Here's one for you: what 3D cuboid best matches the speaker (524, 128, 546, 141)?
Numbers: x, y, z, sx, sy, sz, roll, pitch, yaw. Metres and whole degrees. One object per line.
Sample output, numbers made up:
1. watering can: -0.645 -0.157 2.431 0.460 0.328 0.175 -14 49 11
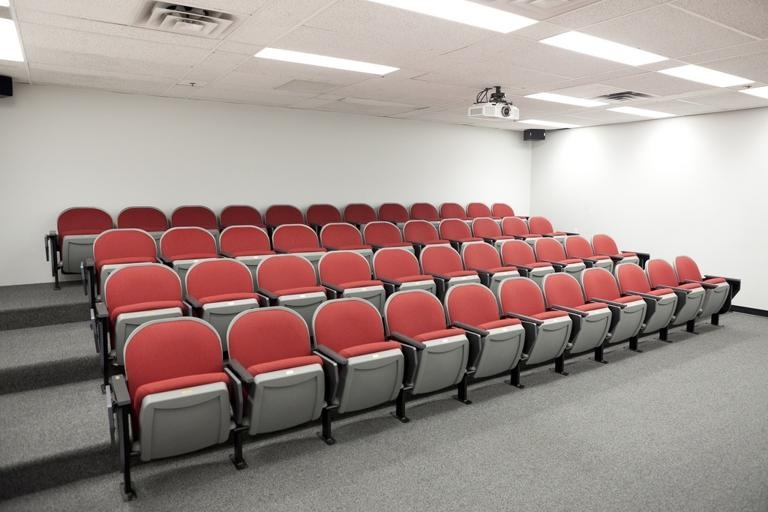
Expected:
1. speaker: 3.544 -2.852 10.598 0.510 0.230 0.389 0 9 5
